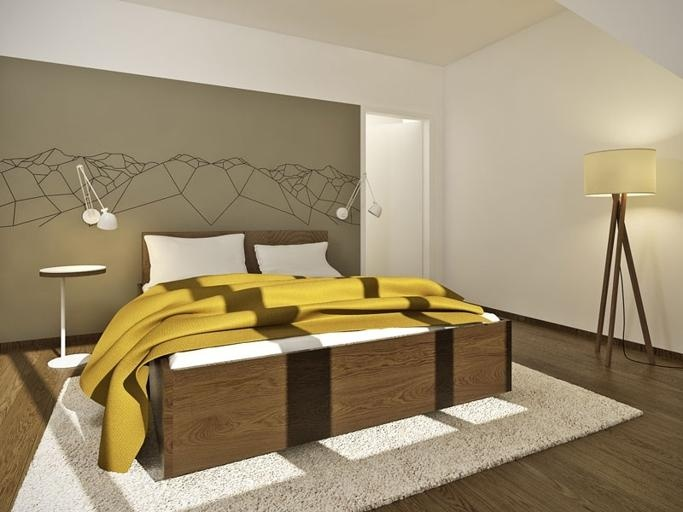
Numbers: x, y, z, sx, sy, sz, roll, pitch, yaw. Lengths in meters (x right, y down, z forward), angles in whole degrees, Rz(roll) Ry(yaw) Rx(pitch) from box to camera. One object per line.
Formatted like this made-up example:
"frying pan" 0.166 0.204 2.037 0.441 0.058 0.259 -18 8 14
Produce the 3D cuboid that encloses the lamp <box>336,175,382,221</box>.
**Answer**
"lamp" 0.208 -0.655 5.231 0.424 0.581 0.198 7 -28 -9

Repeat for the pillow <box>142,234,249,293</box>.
"pillow" -1.230 0.058 3.823 0.549 0.313 0.118 -2 -28 -25

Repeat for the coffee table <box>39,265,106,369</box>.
"coffee table" -2.110 0.421 3.734 0.452 0.727 0.881 -6 14 -27

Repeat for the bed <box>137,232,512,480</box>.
"bed" -0.365 0.463 3.310 2.628 0.850 2.581 -2 1 -3

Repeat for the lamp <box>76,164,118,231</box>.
"lamp" -2.084 -0.476 3.970 0.249 0.587 0.532 -7 15 -28
